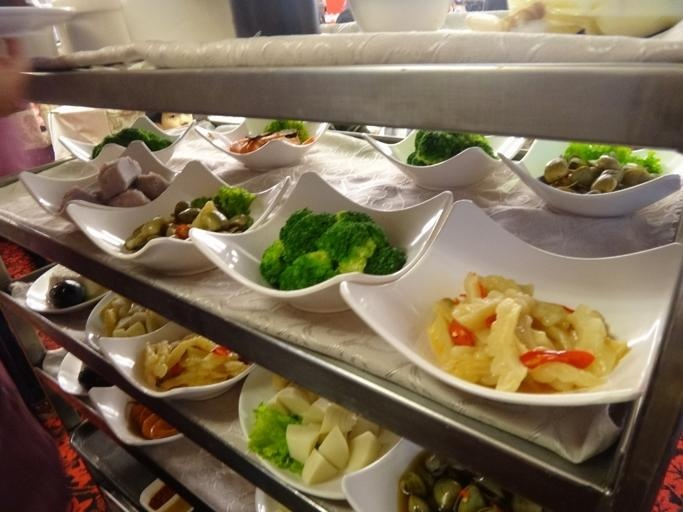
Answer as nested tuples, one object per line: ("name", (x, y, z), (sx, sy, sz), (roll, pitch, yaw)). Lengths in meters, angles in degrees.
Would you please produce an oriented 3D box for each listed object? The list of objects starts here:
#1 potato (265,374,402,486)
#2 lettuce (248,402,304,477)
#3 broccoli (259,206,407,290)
("potato", (-0.052, 0.386, 1.032), (0.209, 0.080, 0.219), (9, 26, -1))
("lettuce", (-0.149, 0.381, 1.038), (0.126, 0.034, 0.154), (-51, 28, -16))
("broccoli", (-0.032, -0.011, 0.829), (0.171, 0.067, 0.174), (-14, 19, -9))
